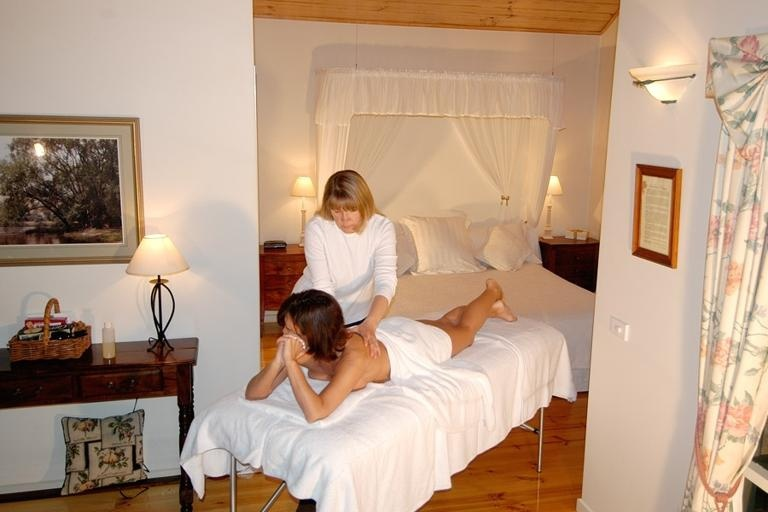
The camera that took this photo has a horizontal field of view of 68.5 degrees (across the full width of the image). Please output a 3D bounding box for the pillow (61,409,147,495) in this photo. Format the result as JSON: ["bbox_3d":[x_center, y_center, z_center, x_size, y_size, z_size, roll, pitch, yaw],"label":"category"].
[{"bbox_3d":[-1.813,1.283,3.705,0.515,0.504,0.170,1,-3,-29],"label":"pillow"}]

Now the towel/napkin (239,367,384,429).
[{"bbox_3d":[-0.415,0.767,2.992,0.402,0.100,0.379,9,16,42],"label":"towel/napkin"}]

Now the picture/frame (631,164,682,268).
[{"bbox_3d":[1.425,-0.213,2.944,0.064,0.533,0.286,-1,3,-23],"label":"picture/frame"}]

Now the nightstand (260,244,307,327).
[{"bbox_3d":[-1.066,0.305,6.228,0.638,0.580,0.507,0,7,-2],"label":"nightstand"}]

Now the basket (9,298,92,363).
[{"bbox_3d":[-2.033,0.402,3.456,0.399,0.343,0.399,-1,2,-23],"label":"basket"}]

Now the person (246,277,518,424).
[{"bbox_3d":[0.105,0.422,3.358,1.689,0.559,0.569,-10,12,-34],"label":"person"}]

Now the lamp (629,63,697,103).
[{"bbox_3d":[1.405,-0.844,2.823,0.226,0.096,0.192,-2,9,4],"label":"lamp"}]

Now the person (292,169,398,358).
[{"bbox_3d":[-0.240,0.262,3.538,0.604,1.538,0.824,-5,37,-11],"label":"person"}]

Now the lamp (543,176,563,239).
[{"bbox_3d":[2.043,-0.593,6.812,0.220,0.750,0.386,1,3,15],"label":"lamp"}]

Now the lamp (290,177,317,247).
[{"bbox_3d":[-0.878,-0.488,6.227,0.359,0.722,0.368,0,1,32],"label":"lamp"}]
